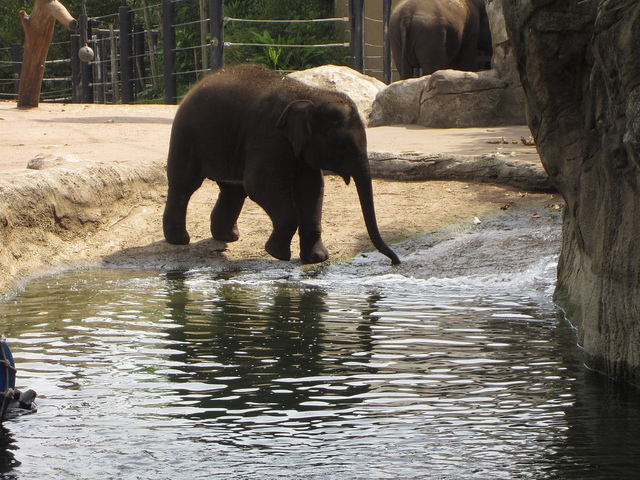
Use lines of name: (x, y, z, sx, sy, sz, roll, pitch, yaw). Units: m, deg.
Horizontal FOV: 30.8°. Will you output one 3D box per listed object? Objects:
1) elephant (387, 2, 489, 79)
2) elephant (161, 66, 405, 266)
elephant: (1.980, -3.327, 19.090, 1.636, 1.278, 1.511, -2, 8, -4)
elephant: (-0.318, -0.686, 10.275, 1.999, 1.731, 1.026, 6, 11, 38)
